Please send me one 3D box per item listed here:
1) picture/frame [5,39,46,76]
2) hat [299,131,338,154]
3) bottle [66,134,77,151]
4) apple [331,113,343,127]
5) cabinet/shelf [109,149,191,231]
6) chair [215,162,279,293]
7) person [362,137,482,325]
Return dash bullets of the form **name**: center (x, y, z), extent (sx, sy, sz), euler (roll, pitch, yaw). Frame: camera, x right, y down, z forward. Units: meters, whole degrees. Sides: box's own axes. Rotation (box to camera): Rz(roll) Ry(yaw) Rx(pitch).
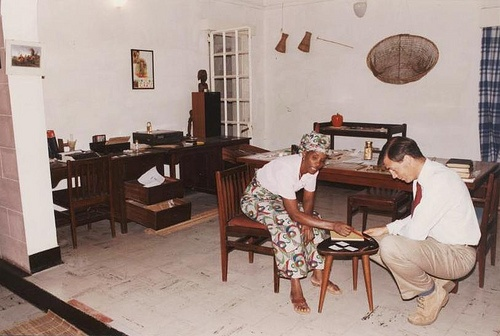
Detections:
- **picture/frame**: center (-2.269, -1.114, 3.784), extent (0.032, 0.362, 0.415), euler (5, 7, 43)
- **hat**: center (0.590, -0.220, 3.381), extent (0.247, 0.172, 0.193), euler (2, 8, 24)
- **bottle**: center (-2.462, -0.347, 5.228), extent (0.128, 0.266, 0.534), euler (-8, 15, -25)
- **apple**: center (1.535, -0.860, 6.659), extent (0.227, 0.250, 0.213), euler (-6, 8, -40)
- **cabinet/shelf**: center (-1.395, 0.242, 5.206), extent (1.117, 0.922, 0.874), euler (8, 14, 38)
- **chair**: center (0.120, 0.577, 3.862), extent (0.903, 1.098, 0.881), euler (-2, 7, -14)
- **person**: center (1.488, 0.546, 3.144), extent (0.843, 1.569, 0.319), euler (1, 15, 9)
